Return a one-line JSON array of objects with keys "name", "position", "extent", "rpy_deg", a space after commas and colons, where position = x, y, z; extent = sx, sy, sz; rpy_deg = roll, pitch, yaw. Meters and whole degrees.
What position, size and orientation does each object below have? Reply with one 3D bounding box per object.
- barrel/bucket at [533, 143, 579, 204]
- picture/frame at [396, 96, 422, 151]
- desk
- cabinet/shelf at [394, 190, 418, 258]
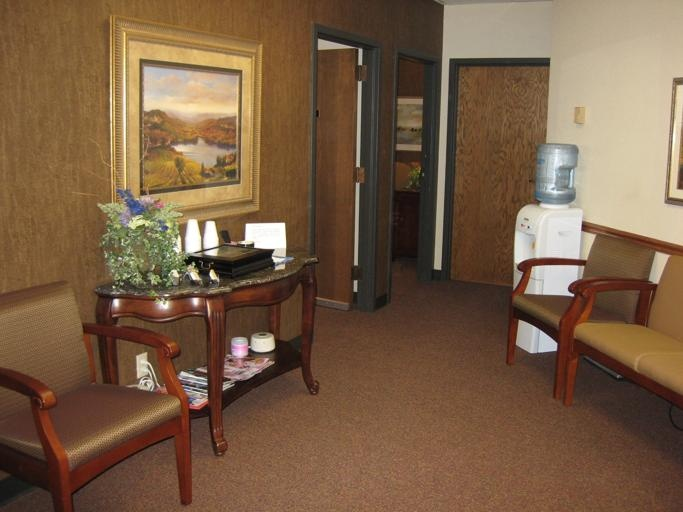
[{"name": "barrel/bucket", "position": [1.991, -0.760, 4.902], "extent": [0.346, 0.545, 0.306], "rpy_deg": [3, 16, 22]}, {"name": "picture/frame", "position": [1.023, -1.993, 7.993], "extent": [0.368, 0.809, 0.073], "rpy_deg": [0, 15, 13]}, {"name": "desk", "position": [-0.782, 0.586, 3.681], "extent": [0.813, 1.014, 1.583], "rpy_deg": [9, 13, 32]}, {"name": "cabinet/shelf", "position": [0.951, -0.448, 7.823], "extent": [0.392, 1.034, 0.312], "rpy_deg": [-1, 15, 9]}]
